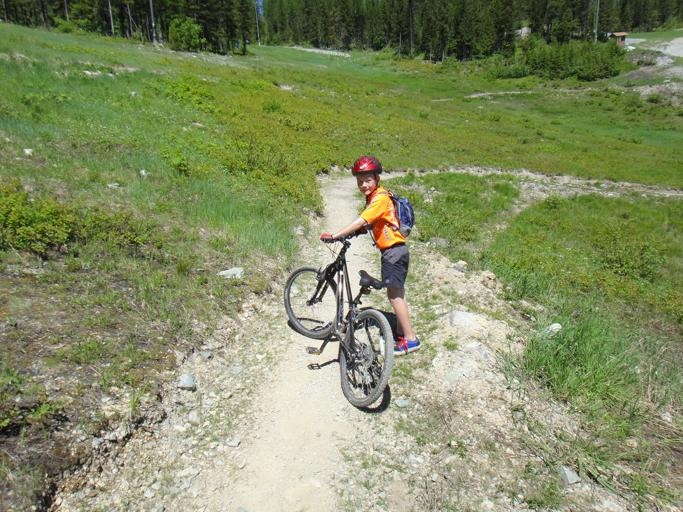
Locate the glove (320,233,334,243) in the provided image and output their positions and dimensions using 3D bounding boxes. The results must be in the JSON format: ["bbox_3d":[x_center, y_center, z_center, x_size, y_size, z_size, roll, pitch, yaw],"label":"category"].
[{"bbox_3d":[-0.355,-0.454,12.648,0.280,0.199,0.419,2,18,0],"label":"glove"}]
